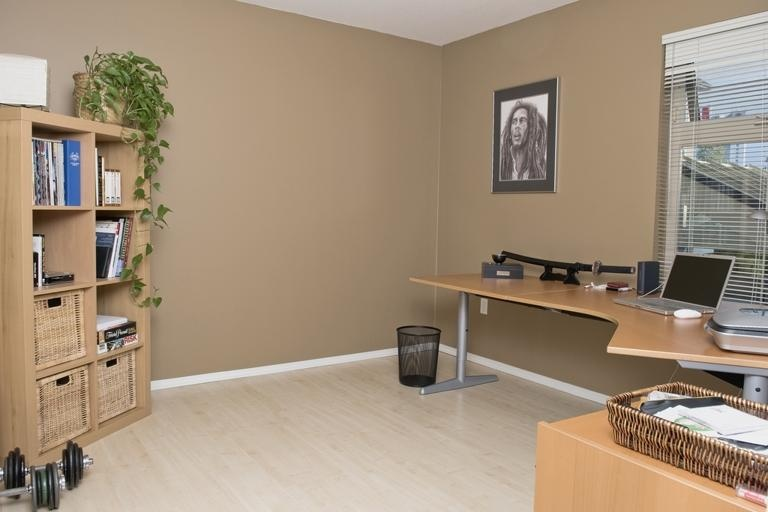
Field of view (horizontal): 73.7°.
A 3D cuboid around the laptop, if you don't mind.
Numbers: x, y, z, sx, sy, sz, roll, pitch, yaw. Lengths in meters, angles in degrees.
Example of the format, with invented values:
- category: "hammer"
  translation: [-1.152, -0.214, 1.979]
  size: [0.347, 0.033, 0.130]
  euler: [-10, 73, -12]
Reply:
- category: "laptop"
  translation: [1.839, 0.150, 3.133]
  size: [0.486, 0.313, 0.467]
  euler: [-1, 3, -22]

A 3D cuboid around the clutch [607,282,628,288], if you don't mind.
- category: "clutch"
  translation: [1.724, 0.215, 3.754]
  size: [0.071, 0.019, 0.076]
  euler: [-2, 5, -30]

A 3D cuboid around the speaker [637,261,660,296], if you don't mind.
- category: "speaker"
  translation: [1.845, 0.160, 3.565]
  size: [0.220, 0.203, 0.072]
  euler: [-3, 4, -40]

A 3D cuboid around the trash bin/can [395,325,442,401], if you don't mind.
- category: "trash bin/can"
  translation: [0.305, 0.901, 4.621]
  size: [0.460, 0.478, 0.464]
  euler: [1, -4, -2]
